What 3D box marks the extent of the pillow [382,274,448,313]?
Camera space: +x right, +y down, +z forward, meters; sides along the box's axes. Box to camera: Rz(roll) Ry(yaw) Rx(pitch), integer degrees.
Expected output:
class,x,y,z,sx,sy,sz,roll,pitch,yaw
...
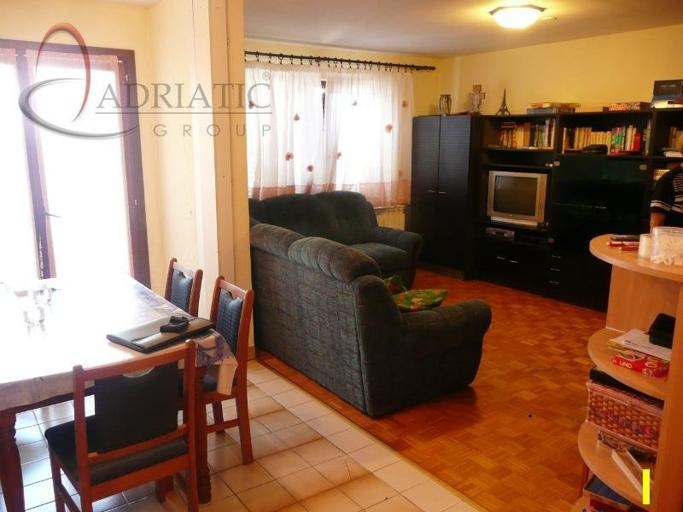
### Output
class,x,y,z,sx,sy,sz,roll,pitch,yaw
pillow,0.452,0.270,3.829,0.459,0.178,0.453,-10,16,-28

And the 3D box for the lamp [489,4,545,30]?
class,x,y,z,sx,sy,sz,roll,pitch,yaw
lamp,1.585,-2.170,4.697,0.472,0.187,0.776,4,15,20

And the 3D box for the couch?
class,x,y,z,sx,sy,sz,roll,pitch,yaw
couch,0.078,0.473,4.509,1.801,1.343,2.165,-7,15,-40

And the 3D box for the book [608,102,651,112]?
class,x,y,z,sx,sy,sz,roll,pitch,yaw
book,2.934,-1.534,5.294,0.365,0.083,0.188,5,16,25

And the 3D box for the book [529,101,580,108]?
class,x,y,z,sx,sy,sz,roll,pitch,yaw
book,2.458,-1.753,5.975,0.519,0.067,0.247,4,16,22

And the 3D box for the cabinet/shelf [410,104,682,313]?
class,x,y,z,sx,sy,sz,roll,pitch,yaw
cabinet/shelf,2.143,-0.542,5.417,0.663,1.646,2.281,-6,13,-34
